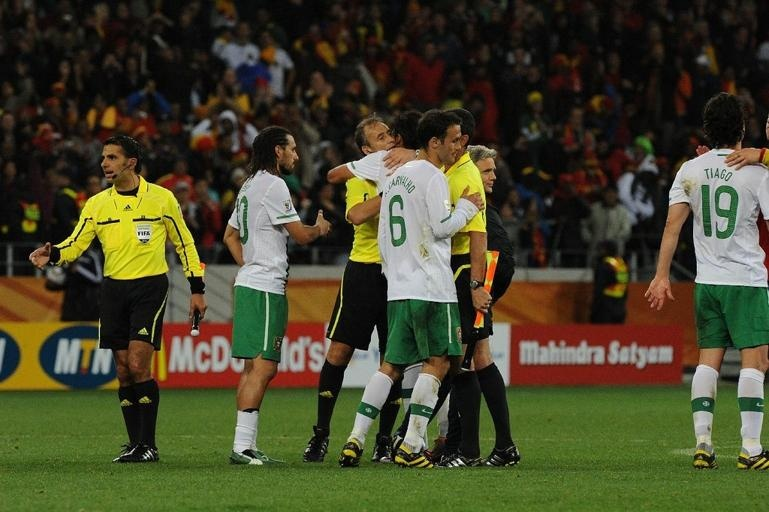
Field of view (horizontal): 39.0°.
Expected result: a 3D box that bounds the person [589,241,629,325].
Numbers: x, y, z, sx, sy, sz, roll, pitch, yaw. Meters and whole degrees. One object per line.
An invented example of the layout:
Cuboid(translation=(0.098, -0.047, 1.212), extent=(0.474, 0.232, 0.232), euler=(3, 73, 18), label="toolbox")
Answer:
Cuboid(translation=(4.054, 0.452, 19.650), extent=(0.658, 1.473, 0.441), euler=(0, -5, 9), label="person")

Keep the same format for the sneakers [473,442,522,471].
Cuboid(translation=(1.234, 2.187, 11.961), extent=(0.507, 0.240, 0.182), euler=(0, 2, 0), label="sneakers")

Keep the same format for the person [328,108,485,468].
Cuboid(translation=(0.383, 0.327, 11.614), extent=(1.326, 3.822, 0.493), euler=(1, -5, 4), label="person")

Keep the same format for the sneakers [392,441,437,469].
Cuboid(translation=(0.371, 2.145, 11.756), extent=(0.510, 0.249, 0.186), euler=(10, 1, -11), label="sneakers")

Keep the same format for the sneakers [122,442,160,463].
Cuboid(translation=(-2.707, 2.191, 12.114), extent=(0.461, 0.197, 0.165), euler=(3, -8, -10), label="sneakers")

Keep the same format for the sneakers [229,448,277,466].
Cuboid(translation=(-1.483, 2.197, 12.006), extent=(0.369, 0.152, 0.207), euler=(-1, -4, -3), label="sneakers")

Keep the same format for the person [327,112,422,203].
Cuboid(translation=(-0.032, -1.106, 12.106), extent=(0.951, 0.486, 0.779), euler=(-26, -5, 31), label="person")

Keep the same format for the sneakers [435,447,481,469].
Cuboid(translation=(0.806, 2.218, 11.954), extent=(0.522, 0.214, 0.181), euler=(6, -11, 6), label="sneakers")

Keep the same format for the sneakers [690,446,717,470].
Cuboid(translation=(3.466, 2.138, 11.745), extent=(0.250, 0.262, 0.212), euler=(1, -5, 6), label="sneakers")

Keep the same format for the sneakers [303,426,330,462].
Cuboid(translation=(-0.765, 2.085, 12.221), extent=(0.275, 0.400, 0.280), euler=(2, -5, -16), label="sneakers")
